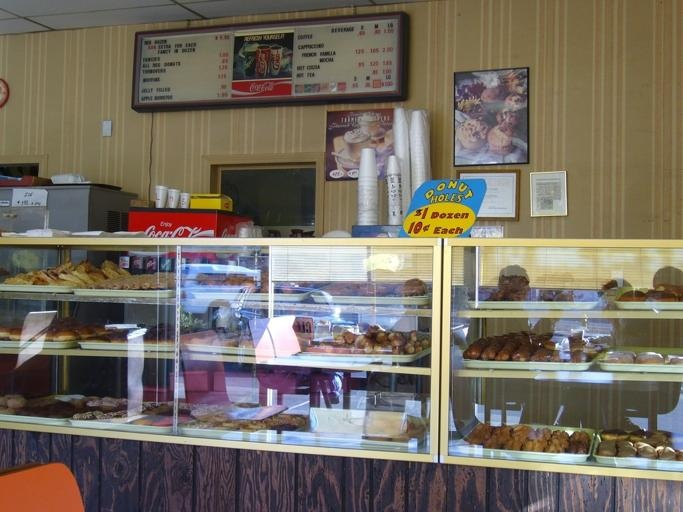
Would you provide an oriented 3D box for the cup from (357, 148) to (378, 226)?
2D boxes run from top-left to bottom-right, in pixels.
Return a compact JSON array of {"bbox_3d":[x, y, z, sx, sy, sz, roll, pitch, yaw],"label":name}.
[{"bbox_3d":[0.154,-0.404,4.087,0.112,0.427,0.140,-2,11,0],"label":"cup"}]

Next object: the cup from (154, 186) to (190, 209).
[{"bbox_3d":[-0.988,-0.322,4.021,0.170,0.110,0.158,1,-3,0],"label":"cup"}]

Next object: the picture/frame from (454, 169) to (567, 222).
[{"bbox_3d":[1.128,-0.386,4.434,0.641,0.299,0.079,0,11,10],"label":"picture/frame"}]
